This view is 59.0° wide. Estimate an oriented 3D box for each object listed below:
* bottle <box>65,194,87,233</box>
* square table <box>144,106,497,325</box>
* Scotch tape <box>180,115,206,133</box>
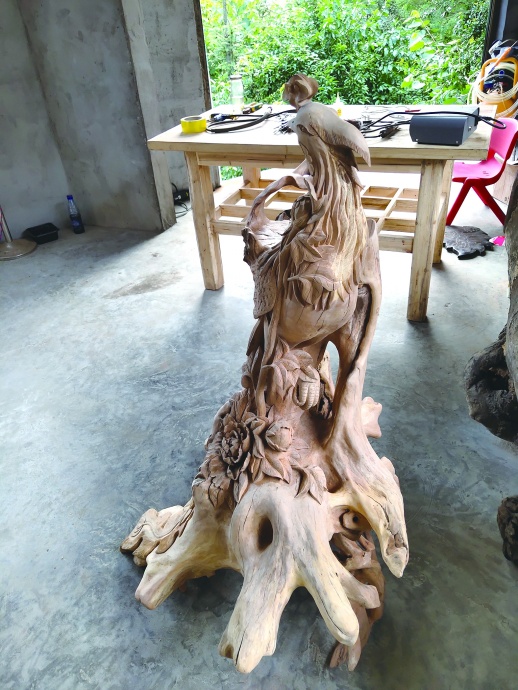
[{"bbox_3d":[-1.629,-1.161,4.031,0.127,0.320,0.262,-16,30,-17],"label":"bottle"},{"bbox_3d":[0.394,-0.922,2.841,1.723,0.969,1.045,9,42,18],"label":"square table"},{"bbox_3d":[-0.365,-1.268,2.629,0.131,0.068,0.130,-23,46,-20],"label":"Scotch tape"}]
